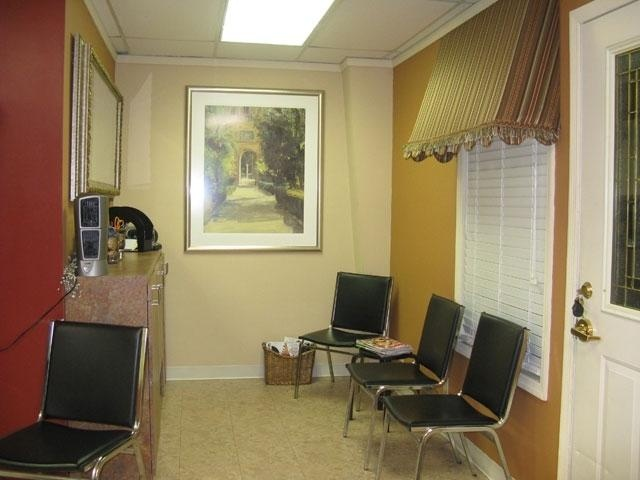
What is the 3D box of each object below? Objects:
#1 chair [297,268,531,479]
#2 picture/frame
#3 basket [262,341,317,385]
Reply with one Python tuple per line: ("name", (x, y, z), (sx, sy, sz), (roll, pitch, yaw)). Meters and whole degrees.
("chair", (0.697, 0.999, 3.628), (0.914, 1.201, 1.715), (0, 7, -12))
("picture/frame", (-0.642, -0.703, 4.895), (1.326, 1.587, 0.156), (0, 7, -10))
("basket", (-0.315, 1.183, 4.946), (0.521, 0.412, 0.449), (4, 12, -6))
